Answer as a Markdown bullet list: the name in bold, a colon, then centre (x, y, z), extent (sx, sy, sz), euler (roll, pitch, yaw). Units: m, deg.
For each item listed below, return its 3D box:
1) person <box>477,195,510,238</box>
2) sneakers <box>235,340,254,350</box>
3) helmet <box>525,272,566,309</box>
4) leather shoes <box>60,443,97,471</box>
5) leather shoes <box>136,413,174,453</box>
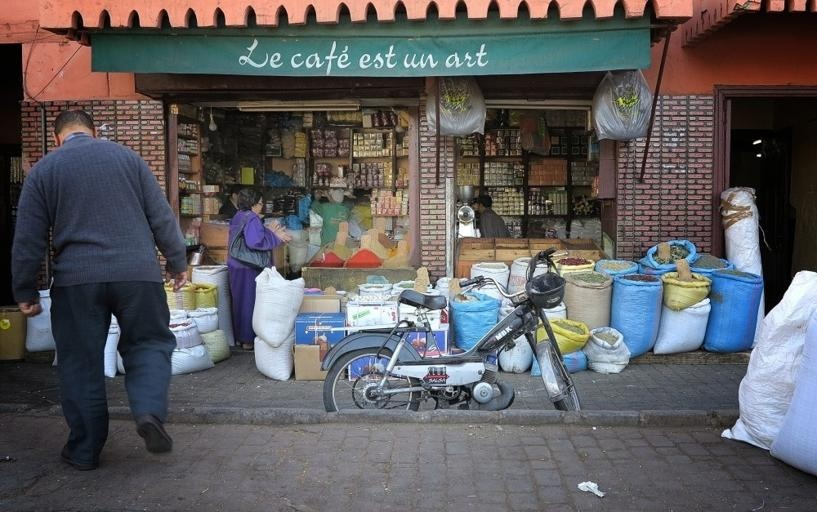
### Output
- **person**: centre (1.545, -0.721, 13.434), extent (0.507, 0.705, 0.781), euler (-1, 7, 3)
- **sneakers**: centre (-2.410, 1.294, 10.679), extent (0.348, 0.151, 0.118), euler (-2, 1, 30)
- **helmet**: centre (1.466, 0.403, 7.856), extent (0.343, 0.287, 0.402), euler (-15, 11, -4)
- **leather shoes**: centre (-3.221, 2.009, 7.247), extent (0.420, 0.201, 0.183), euler (17, 10, 28)
- **leather shoes**: centre (-2.424, 1.756, 7.060), extent (0.228, 0.481, 0.188), euler (-4, 42, -1)
